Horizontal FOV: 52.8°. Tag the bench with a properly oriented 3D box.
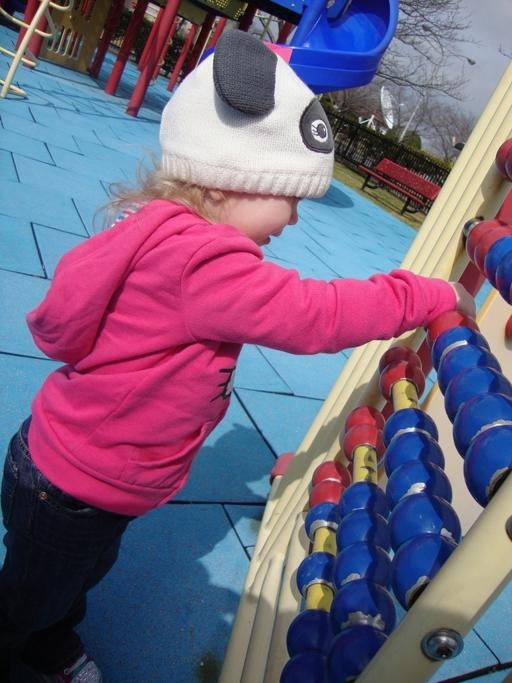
[{"bbox_3d":[3.896,-4.018,13.886,2.610,1.021,0.904,15,9,-25],"label":"bench"}]

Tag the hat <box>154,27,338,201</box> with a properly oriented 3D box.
[{"bbox_3d":[-0.025,-0.433,1.011,0.328,0.272,0.272,4,39,2],"label":"hat"}]
